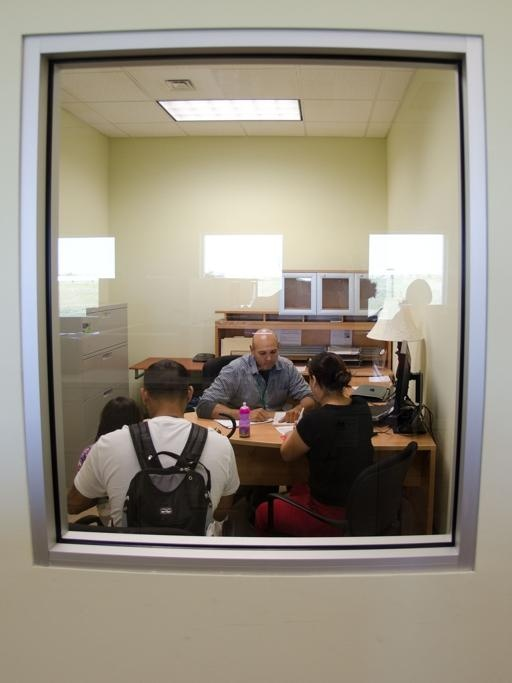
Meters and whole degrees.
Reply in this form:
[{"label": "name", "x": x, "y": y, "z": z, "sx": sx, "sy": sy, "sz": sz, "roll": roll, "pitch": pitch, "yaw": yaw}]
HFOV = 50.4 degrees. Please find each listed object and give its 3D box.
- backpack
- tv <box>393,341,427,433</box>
[{"label": "backpack", "x": -0.196, "y": 0.293, "z": 1.211, "sx": 0.225, "sy": 0.310, "sz": 0.180, "roll": 0, "pitch": 10, "yaw": -3}, {"label": "tv", "x": 0.338, "y": 0.089, "z": 1.191, "sx": 0.100, "sy": 0.197, "sz": 0.196, "roll": 0, "pitch": 2, "yaw": 9}]
